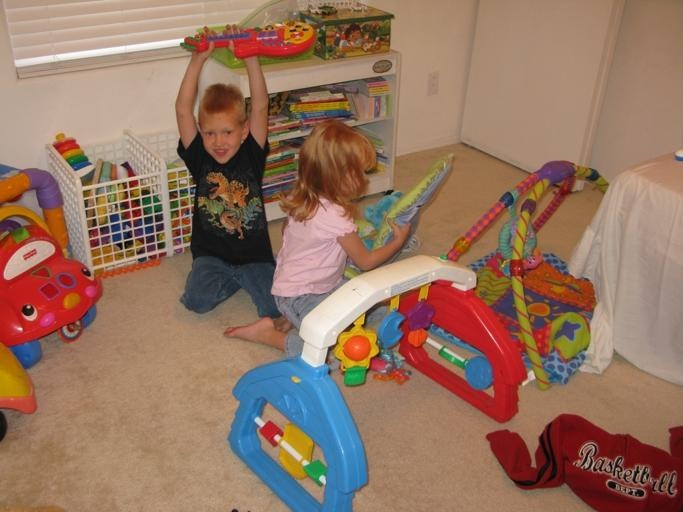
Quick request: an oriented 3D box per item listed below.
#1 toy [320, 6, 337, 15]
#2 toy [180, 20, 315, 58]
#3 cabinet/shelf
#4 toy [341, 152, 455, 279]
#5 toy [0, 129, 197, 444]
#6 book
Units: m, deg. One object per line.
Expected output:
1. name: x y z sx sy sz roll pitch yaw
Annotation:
1. toy: -0.081 -1.389 3.137 0.093 0.031 0.107 16 35 18
2. toy: -0.383 -0.988 2.547 0.543 0.131 0.317 -12 41 -22
3. cabinet/shelf: -0.157 -0.747 3.461 0.911 0.867 0.684 -4 7 -9
4. toy: 0.258 -0.177 2.587 0.175 0.757 0.216 37 6 -29
5. toy: -1.172 0.078 2.805 0.956 0.844 1.008 -24 45 -23
6. book: -0.152 -0.600 2.732 0.650 0.582 0.317 -16 25 -31
